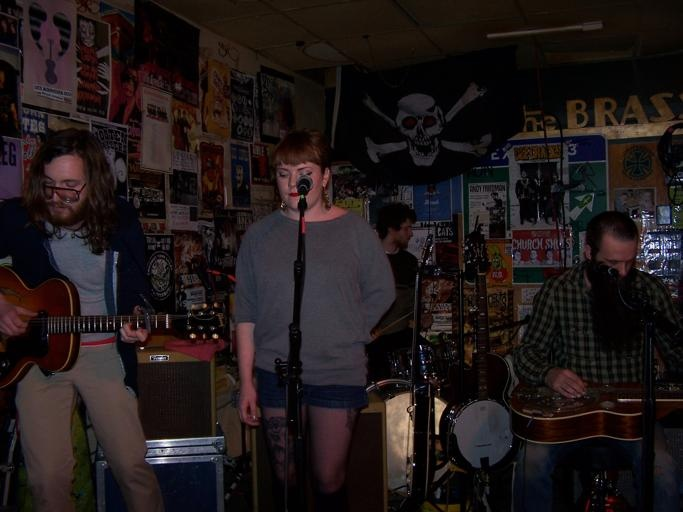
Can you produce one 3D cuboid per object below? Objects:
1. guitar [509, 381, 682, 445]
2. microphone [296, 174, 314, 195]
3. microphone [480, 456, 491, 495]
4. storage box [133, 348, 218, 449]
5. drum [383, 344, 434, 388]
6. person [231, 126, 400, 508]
[{"bbox_3d":[1.278,0.802,3.192,0.880,0.195,0.390,-3,10,16],"label":"guitar"},{"bbox_3d":[-0.168,-0.328,2.834,0.070,0.104,0.071,0,-3,-17],"label":"microphone"},{"bbox_3d":[1.005,1.536,4.338,0.076,0.276,0.178,-2,-3,27],"label":"microphone"},{"bbox_3d":[-1.113,1.015,3.888,0.485,0.387,0.665,7,38,-32],"label":"storage box"},{"bbox_3d":[0.530,0.782,4.560,0.363,0.248,0.339,0,-6,0],"label":"drum"},{"bbox_3d":[-0.116,0.295,2.961,0.786,1.802,0.418,0,-3,-10],"label":"person"}]
